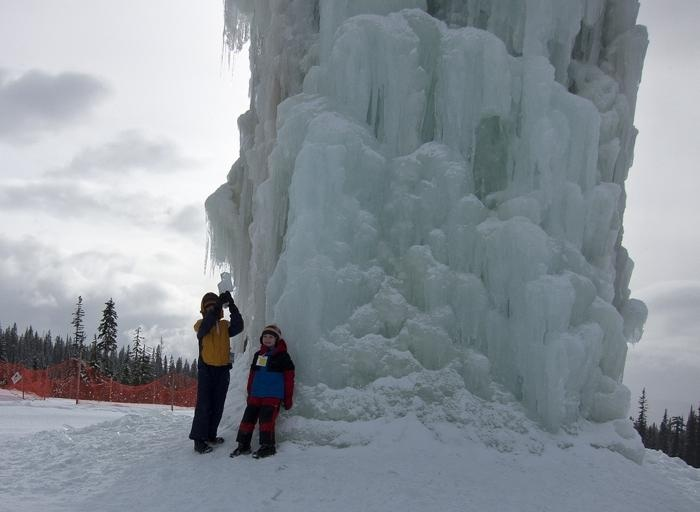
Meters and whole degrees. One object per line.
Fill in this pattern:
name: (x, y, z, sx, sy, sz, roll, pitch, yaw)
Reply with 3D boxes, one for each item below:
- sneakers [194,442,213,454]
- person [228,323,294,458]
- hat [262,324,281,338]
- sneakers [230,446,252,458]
sneakers: (-2.764, 3.570, 11.923, 0.170, 0.163, 0.353, 9, -16, -38)
person: (-1.596, 2.472, 11.831, 0.886, 2.250, 0.930, 3, 4, 12)
hat: (-1.489, 1.431, 12.159, 0.234, 0.209, 0.250, 2, -22, 19)
sneakers: (-2.018, 3.560, 11.628, 0.145, 0.169, 0.353, -8, -16, 40)
